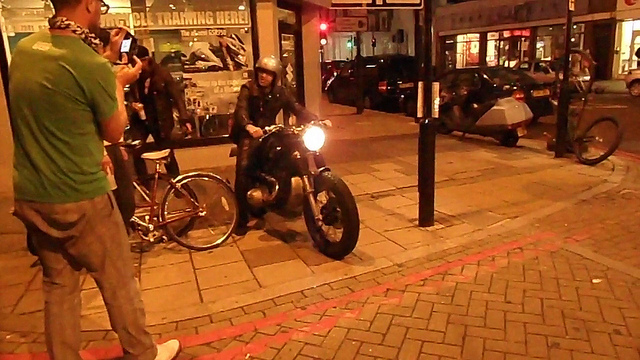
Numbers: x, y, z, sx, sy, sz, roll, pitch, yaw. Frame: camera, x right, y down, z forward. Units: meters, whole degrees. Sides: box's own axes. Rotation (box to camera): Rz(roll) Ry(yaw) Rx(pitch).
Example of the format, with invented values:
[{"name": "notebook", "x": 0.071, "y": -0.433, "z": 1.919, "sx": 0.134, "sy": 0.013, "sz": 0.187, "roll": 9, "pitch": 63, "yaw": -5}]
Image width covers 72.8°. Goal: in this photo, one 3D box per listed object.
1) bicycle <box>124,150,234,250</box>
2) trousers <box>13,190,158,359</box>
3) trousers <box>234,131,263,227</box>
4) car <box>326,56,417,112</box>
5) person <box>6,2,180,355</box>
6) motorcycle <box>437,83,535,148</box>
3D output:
[{"name": "bicycle", "x": -1.888, "y": 0.340, "z": 7.185, "sx": 2.225, "sy": 1.156, "sz": 1.040, "roll": -7, "pitch": 14, "yaw": -15}, {"name": "trousers", "x": -2.314, "y": 1.044, "z": 4.371, "sx": 0.965, "sy": 1.819, "sz": 0.700, "roll": -10, "pitch": 22, "yaw": -23}, {"name": "trousers", "x": -1.195, "y": 0.021, "z": 7.202, "sx": 0.428, "sy": 1.633, "sz": 0.374, "roll": 14, "pitch": 25, "yaw": 33}, {"name": "car", "x": 2.379, "y": -4.097, "z": 18.450, "sx": 1.803, "sy": 2.187, "sz": 5.122, "roll": -11, "pitch": 22, "yaw": -27}, {"name": "person", "x": -2.393, "y": 0.111, "z": 4.255, "sx": 1.110, "sy": 3.507, "sz": 1.055, "roll": -9, "pitch": 22, "yaw": -21}, {"name": "motorcycle", "x": 4.555, "y": -1.861, "z": 12.256, "sx": 0.733, "sy": 1.492, "sz": 2.468, "roll": -12, "pitch": 22, "yaw": -28}]
